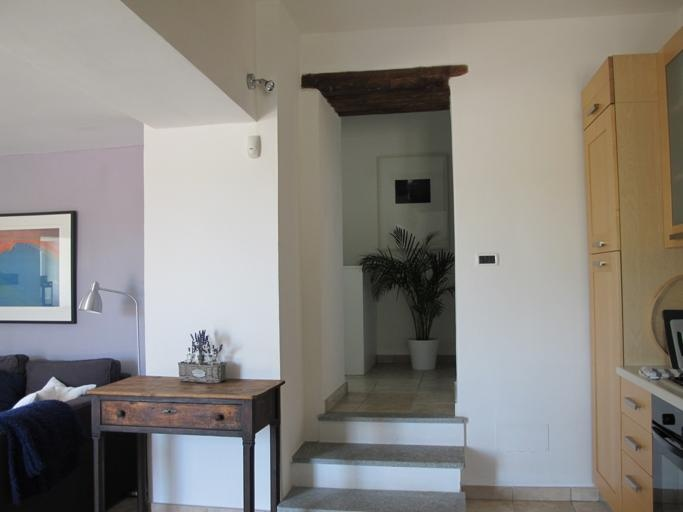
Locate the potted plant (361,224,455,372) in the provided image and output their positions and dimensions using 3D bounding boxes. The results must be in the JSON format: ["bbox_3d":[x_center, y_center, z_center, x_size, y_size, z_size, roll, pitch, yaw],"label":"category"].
[{"bbox_3d":[0.873,0.452,6.492,1.285,1.567,1.077,0,7,43],"label":"potted plant"}]
